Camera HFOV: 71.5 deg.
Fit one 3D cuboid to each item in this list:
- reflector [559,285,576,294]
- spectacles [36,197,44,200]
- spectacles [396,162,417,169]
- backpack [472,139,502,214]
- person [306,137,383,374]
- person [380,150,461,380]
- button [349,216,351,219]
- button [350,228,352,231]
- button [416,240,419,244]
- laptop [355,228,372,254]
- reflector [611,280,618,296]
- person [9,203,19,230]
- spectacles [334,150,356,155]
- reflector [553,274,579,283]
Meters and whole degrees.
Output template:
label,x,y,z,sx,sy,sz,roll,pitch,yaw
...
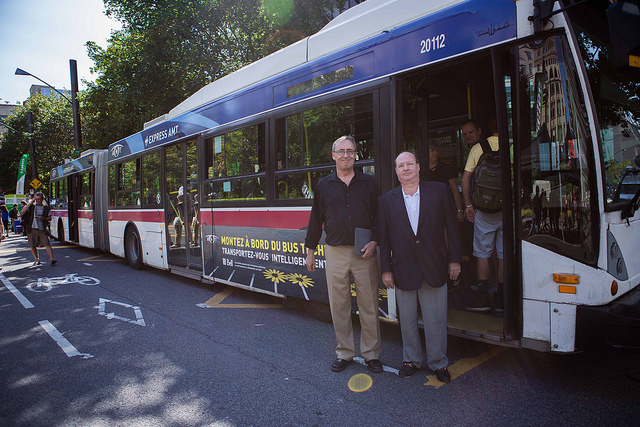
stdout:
label,x,y,z,sx,sy,sz,roll,pitch,yaw
reflector,2.768,0.847,4.967,0.094,0.103,0.029,5,-4,24
spectacles,-7.842,-0.413,12.448,0.081,0.050,0.171,0,14,10
spectacles,1.024,-0.569,5.304,0.190,0.076,0.049,-1,12,6
backpack,2.331,-0.506,6.152,0.356,0.952,0.219,7,14,36
person,0.317,0.531,5.621,0.941,2.910,0.587,0,11,9
person,1.198,0.644,5.340,0.919,2.692,0.528,0,11,10
button,0.374,0.050,5.520,0.018,0.030,0.008,-4,11,-10
button,0.385,0.198,5.512,0.024,0.031,0.005,-1,11,3
button,1.157,0.335,5.267,0.008,0.037,0.033,3,-7,-39
laptop,0.526,0.346,5.476,0.231,0.357,0.033,11,-4,-28
reflector,3.350,0.848,5.059,0.033,0.105,0.145,-4,32,36
person,-18.945,0.205,27.610,0.497,1.539,1.295,-9,14,-34
spectacles,0.315,-0.760,5.533,0.218,0.060,0.052,-4,12,-9
reflector,2.754,0.729,4.978,0.254,0.091,0.028,3,12,20
